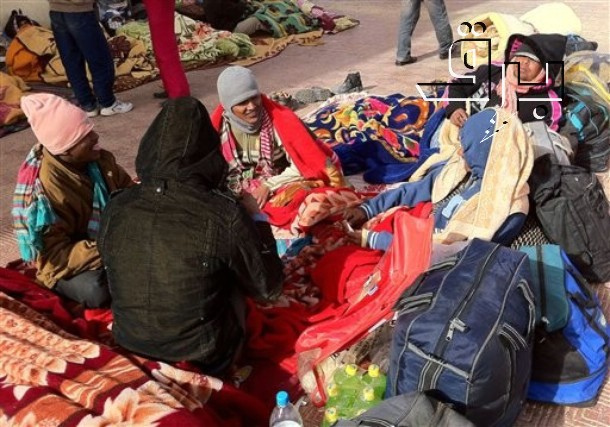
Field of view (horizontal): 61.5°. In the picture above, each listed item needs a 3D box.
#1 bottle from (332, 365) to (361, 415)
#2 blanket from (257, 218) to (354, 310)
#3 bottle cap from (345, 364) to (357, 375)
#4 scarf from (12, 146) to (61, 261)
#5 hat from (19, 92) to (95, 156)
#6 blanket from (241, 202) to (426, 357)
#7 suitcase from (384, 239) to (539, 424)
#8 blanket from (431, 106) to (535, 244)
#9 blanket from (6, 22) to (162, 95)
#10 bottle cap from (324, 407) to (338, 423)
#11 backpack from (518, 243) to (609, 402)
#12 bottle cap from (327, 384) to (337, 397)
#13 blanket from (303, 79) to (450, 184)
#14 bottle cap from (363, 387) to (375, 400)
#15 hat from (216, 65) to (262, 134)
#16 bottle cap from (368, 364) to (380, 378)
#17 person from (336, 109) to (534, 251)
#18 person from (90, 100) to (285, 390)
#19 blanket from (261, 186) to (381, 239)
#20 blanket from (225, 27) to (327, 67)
[{"bbox_3d":[0.214,0.906,2.609,0.161,0.145,0.275,-6,-21,10],"label":"bottle"},{"bbox_3d":[-0.003,0.305,3.371,0.598,0.225,0.458,-41,33,-25],"label":"blanket"},{"bbox_3d":[0.240,0.805,2.645,0.045,0.043,0.046,5,4,-9],"label":"bottle cap"},{"bbox_3d":[-1.616,-0.069,3.155,0.264,0.677,0.270,-1,4,9],"label":"scarf"},{"bbox_3d":[-1.471,-0.555,3.172,0.422,0.316,0.304,31,53,13],"label":"hat"},{"bbox_3d":[0.086,0.494,3.127,0.992,0.299,0.735,-29,23,-17],"label":"blanket"},{"bbox_3d":[0.798,0.611,2.582,0.616,0.730,0.718,5,27,28],"label":"suitcase"},{"bbox_3d":[1.091,-0.251,3.233,0.637,0.718,0.647,2,26,22],"label":"blanket"},{"bbox_3d":[-2.759,-2.039,6.979,1.387,0.602,1.779,7,22,37],"label":"blanket"},{"bbox_3d":[0.125,0.953,2.446,0.070,0.049,0.068,-6,3,6],"label":"bottle cap"},{"bbox_3d":[1.337,0.598,2.679,0.383,0.448,0.650,-10,37,24],"label":"backpack"},{"bbox_3d":[0.141,0.898,2.601,0.048,0.039,0.053,-4,8,-4],"label":"bottle cap"},{"bbox_3d":[0.673,-0.728,4.789,1.258,0.471,1.443,-1,23,15],"label":"blanket"},{"bbox_3d":[0.320,0.889,2.533,0.053,0.043,0.051,-1,16,2],"label":"bottle cap"},{"bbox_3d":[-0.500,-0.852,3.955,0.326,0.527,0.212,-5,24,7],"label":"hat"},{"bbox_3d":[0.348,0.789,2.595,0.059,0.051,0.057,-1,25,5],"label":"bottle cap"},{"bbox_3d":[0.898,-0.169,3.419,1.353,0.710,0.903,-13,27,4],"label":"person"},{"bbox_3d":[-0.579,0.241,2.556,0.879,1.515,0.568,-16,25,-17],"label":"person"},{"bbox_3d":[0.116,-0.065,3.803,0.847,0.222,0.917,8,14,3],"label":"blanket"},{"bbox_3d":[-0.436,-2.473,7.639,0.822,0.147,1.276,19,34,31],"label":"blanket"}]
